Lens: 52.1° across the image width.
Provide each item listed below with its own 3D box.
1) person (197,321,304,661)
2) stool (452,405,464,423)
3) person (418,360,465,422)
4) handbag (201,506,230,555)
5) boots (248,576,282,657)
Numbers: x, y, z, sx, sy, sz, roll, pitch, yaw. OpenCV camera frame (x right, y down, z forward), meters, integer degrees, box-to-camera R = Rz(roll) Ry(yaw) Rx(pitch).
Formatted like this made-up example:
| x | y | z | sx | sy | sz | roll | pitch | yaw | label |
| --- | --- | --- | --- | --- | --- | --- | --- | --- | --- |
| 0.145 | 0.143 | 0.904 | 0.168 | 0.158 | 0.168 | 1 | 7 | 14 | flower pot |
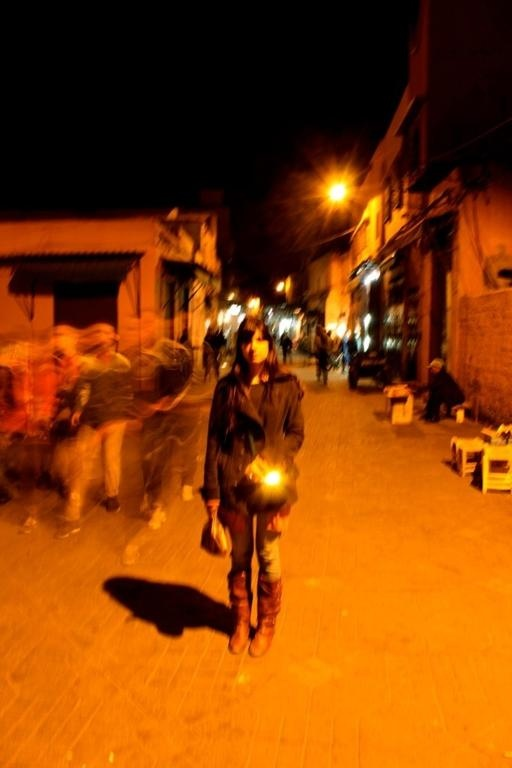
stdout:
| x | y | z | sx | sy | sz | roll | pitch | yaw | label |
| --- | --- | --- | --- | --- | --- | --- | --- | --- | --- |
| -0.015 | 0.540 | 2.620 | 0.501 | 1.699 | 0.350 | 0 | 0 | 7 | person |
| 4.473 | 0.643 | 11.458 | 0.201 | 0.525 | 0.226 | 3 | 4 | -26 | stool |
| 4.188 | 0.021 | 11.707 | 0.754 | 1.470 | 0.632 | -4 | 26 | 23 | person |
| -0.210 | 0.767 | 2.646 | 0.122 | 0.307 | 0.378 | 0 | 0 | -6 | handbag |
| 0.054 | 1.237 | 2.770 | 0.104 | 0.513 | 0.361 | 4 | 30 | 10 | boots |
